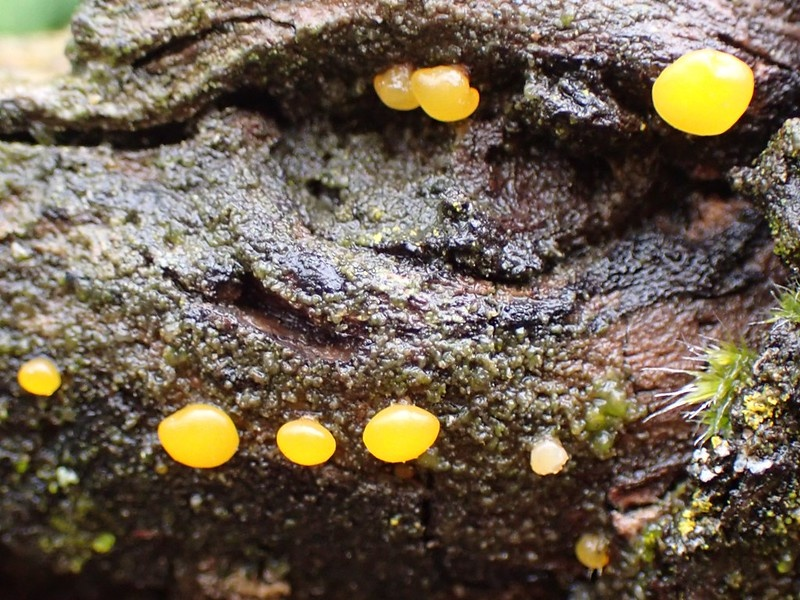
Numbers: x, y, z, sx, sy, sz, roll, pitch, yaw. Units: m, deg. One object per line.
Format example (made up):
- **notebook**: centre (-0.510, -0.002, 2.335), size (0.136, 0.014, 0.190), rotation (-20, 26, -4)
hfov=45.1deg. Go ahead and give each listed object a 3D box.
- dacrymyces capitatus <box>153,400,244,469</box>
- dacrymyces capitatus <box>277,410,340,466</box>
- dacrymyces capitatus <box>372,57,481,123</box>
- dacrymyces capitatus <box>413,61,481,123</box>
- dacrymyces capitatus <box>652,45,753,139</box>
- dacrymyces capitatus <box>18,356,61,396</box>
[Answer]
- **dacrymyces capitatus**: centre (-1.168, 0.789, 5.580), size (0.399, 0.135, 0.384), rotation (-32, 83, -5)
- **dacrymyces capitatus**: centre (-0.556, 0.823, 5.611), size (0.310, 0.126, 0.269), rotation (44, 83, 5)
- **dacrymyces capitatus**: centre (0.160, -1.295, 5.885), size (0.532, 0.264, 0.341), rotation (21, 104, 11)
- **dacrymyces capitatus**: centre (0.254, -1.242, 5.734), size (0.327, 0.223, 0.330), rotation (1, 107, 24)
- **dacrymyces capitatus**: centre (1.694, -1.197, 5.556), size (0.389, 0.448, 0.629), rotation (-11, 35, -17)
- **dacrymyces capitatus**: centre (-2.057, 0.434, 5.527), size (0.215, 0.122, 0.198), rotation (32, 82, 4)
